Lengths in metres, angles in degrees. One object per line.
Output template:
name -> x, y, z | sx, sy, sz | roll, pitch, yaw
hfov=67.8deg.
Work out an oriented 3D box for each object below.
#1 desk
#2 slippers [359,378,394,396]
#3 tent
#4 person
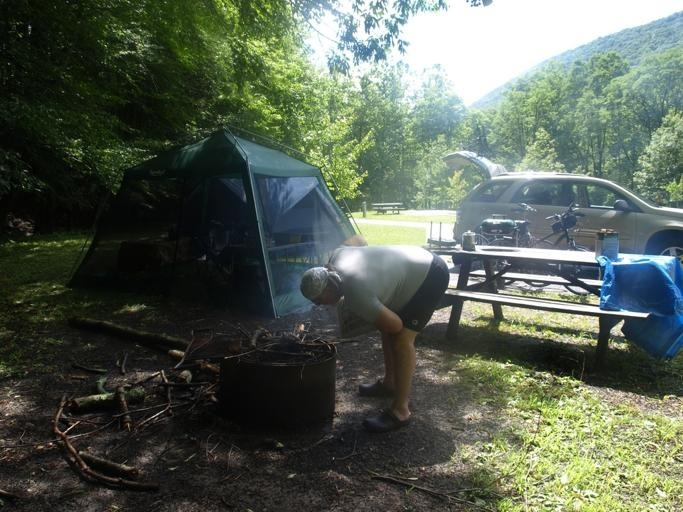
desk -> 2.445, 0.442, 6.911 | 1.944, 0.915, 1.621 | 4, 3, 41
slippers -> 0.375, 1.448, 5.567 | 0.398, 0.165, 0.143 | 4, -2, 0
tent -> -2.315, -0.485, 9.013 | 3.743, 2.235, 3.524 | 5, 4, 31
person -> 0.362, 0.799, 4.984 | 1.438, 1.776, 0.522 | -1, 5, -25
